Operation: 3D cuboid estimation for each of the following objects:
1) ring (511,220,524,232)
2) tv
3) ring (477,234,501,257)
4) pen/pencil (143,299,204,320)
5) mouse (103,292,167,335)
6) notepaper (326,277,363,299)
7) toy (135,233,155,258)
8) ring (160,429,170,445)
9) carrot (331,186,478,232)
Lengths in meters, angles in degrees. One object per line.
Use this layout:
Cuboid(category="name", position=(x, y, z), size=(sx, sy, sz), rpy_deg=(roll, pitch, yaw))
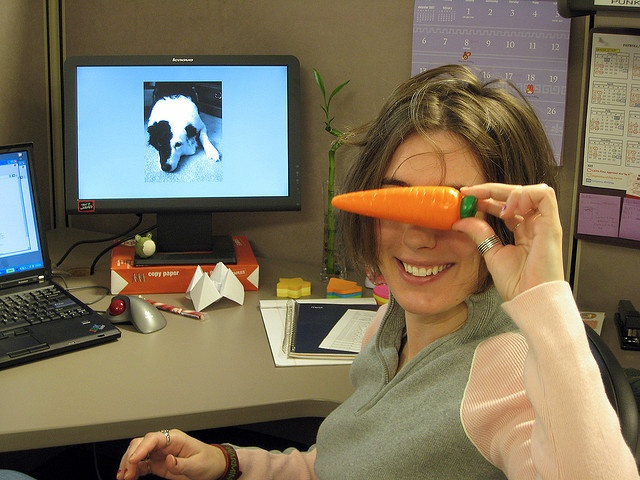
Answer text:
Cuboid(category="ring", position=(0.273, -0.019, 0.818), size=(0.003, 0.012, 0.013), rpy_deg=(36, 12, -5))
Cuboid(category="tv", position=(-0.359, -0.230, 1.578), size=(0.619, 0.544, 0.264), rpy_deg=(0, 4, -5))
Cuboid(category="ring", position=(0.232, 0.007, 0.809), size=(0.035, 0.013, 0.035), rpy_deg=(-28, -18, -10))
Cuboid(category="pen/pencil", position=(-0.349, 0.168, 1.413), size=(0.159, 0.022, 0.023), rpy_deg=(10, -12, 34))
Cuboid(category="mouse", position=(-0.435, 0.160, 1.370), size=(0.139, 0.054, 0.097), rpy_deg=(14, 28, 24))
Cuboid(category="notepaper", position=(0.064, 0.119, 1.542), size=(0.058, 0.021, 0.055), rpy_deg=(7, 10, 31))
Cuboid(category="toy", position=(-0.459, 0.012, 1.613), size=(0.054, 0.069, 0.058), rpy_deg=(7, 11, 42))
Cuboid(category="ring", position=(-0.281, 0.361, 1.084), size=(0.023, 0.024, 0.020), rpy_deg=(-1, 12, -8))
Cuboid(category="carrot", position=(0.129, -0.059, 0.898), size=(0.253, 0.070, 0.064), rpy_deg=(3, -15, 24))
